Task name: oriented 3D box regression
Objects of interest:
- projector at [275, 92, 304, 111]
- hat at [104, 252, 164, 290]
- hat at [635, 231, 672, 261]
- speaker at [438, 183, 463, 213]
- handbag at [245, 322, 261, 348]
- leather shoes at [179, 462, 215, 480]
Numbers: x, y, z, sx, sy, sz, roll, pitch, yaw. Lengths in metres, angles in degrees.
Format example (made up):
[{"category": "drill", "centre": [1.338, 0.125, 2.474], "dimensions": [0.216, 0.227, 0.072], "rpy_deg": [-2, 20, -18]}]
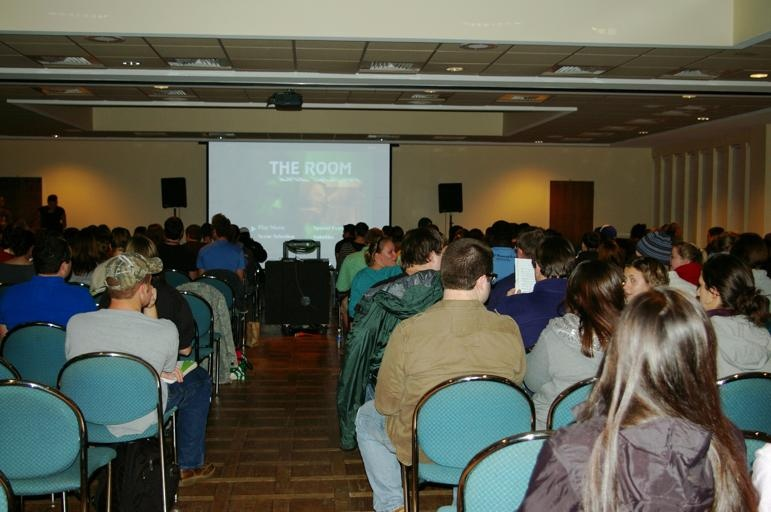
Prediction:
[{"category": "projector", "centre": [-1.463, -2.288, 8.519], "dimensions": [0.432, 0.264, 0.579], "rpy_deg": [1, 8, -6]}, {"category": "hat", "centre": [-1.578, 0.092, 3.672], "dimensions": [0.205, 0.175, 0.331], "rpy_deg": [14, 31, 28]}, {"category": "hat", "centre": [3.025, -0.106, 6.492], "dimensions": [0.298, 0.369, 0.401], "rpy_deg": [14, 13, 8]}, {"category": "speaker", "centre": [1.556, -1.393, 13.894], "dimensions": [0.929, 0.649, 0.680], "rpy_deg": [-2, 1, -4]}, {"category": "handbag", "centre": [-1.795, 1.063, 7.770], "dimensions": [0.107, 0.303, 0.303], "rpy_deg": [0, -4, -6]}, {"category": "leather shoes", "centre": [-1.411, 1.609, 4.357], "dimensions": [0.252, 0.120, 0.092], "rpy_deg": [-6, 7, -36]}]
